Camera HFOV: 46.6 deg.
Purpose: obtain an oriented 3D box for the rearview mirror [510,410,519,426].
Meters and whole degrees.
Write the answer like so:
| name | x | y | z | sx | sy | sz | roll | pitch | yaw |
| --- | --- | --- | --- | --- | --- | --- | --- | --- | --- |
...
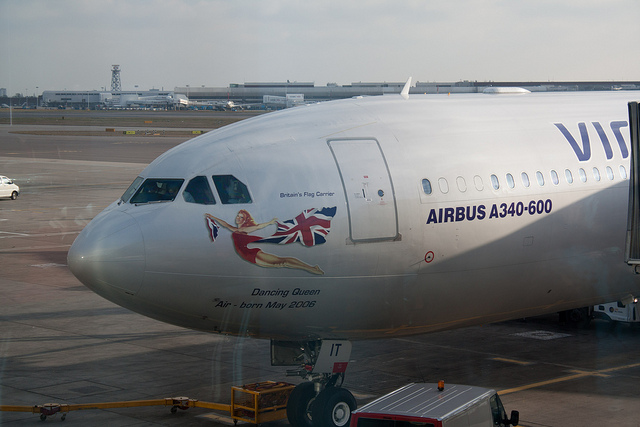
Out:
| name | x | y | z | sx | sy | sz | roll | pitch | yaw |
| --- | --- | --- | --- | --- | --- | --- | --- | --- | --- |
| rearview mirror | 4.559 | 4.795 | 17.415 | 0.153 | 0.433 | 0.276 | 2 | 12 | 13 |
